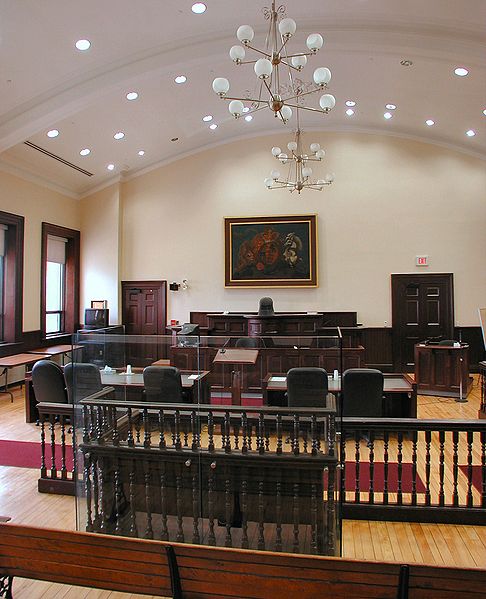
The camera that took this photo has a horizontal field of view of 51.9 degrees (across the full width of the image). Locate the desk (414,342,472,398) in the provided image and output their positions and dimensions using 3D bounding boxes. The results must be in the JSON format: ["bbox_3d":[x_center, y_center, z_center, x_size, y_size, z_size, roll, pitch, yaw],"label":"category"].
[{"bbox_3d":[3.288,1.154,7.870,0.714,0.754,0.761,7,-9,-44],"label":"desk"}]

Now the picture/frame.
[{"bbox_3d":[0.632,-0.923,10.064,1.536,1.168,0.056,0,1,11],"label":"picture/frame"}]

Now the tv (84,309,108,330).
[{"bbox_3d":[-3.057,0.429,10.172,0.541,0.396,0.394,-4,7,2],"label":"tv"}]

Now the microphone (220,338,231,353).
[{"bbox_3d":[-0.112,0.317,3.386,0.088,0.085,0.022,-4,-31,39],"label":"microphone"}]

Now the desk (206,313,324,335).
[{"bbox_3d":[0.313,0.477,9.266,2.137,0.494,0.929,-1,8,25],"label":"desk"}]

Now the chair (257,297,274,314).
[{"bbox_3d":[0.411,0.147,9.119,0.250,0.344,0.305,1,-3,0],"label":"chair"}]

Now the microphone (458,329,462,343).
[{"bbox_3d":[4.121,0.723,9.503,0.065,0.221,0.181,0,9,32],"label":"microphone"}]
